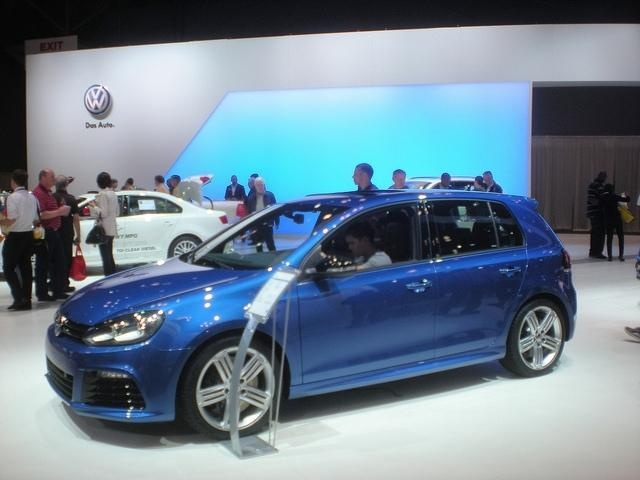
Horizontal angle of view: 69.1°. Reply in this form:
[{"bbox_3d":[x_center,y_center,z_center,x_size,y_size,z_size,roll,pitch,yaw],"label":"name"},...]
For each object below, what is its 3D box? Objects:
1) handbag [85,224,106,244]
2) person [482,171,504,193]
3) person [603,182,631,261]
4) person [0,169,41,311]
[{"bbox_3d":[-3.555,-0.086,7.421,0.312,0.395,0.182,3,1,-14],"label":"handbag"},{"bbox_3d":[4.044,-1.393,11.105,0.324,0.444,0.878,1,7,13],"label":"person"},{"bbox_3d":[7.339,-0.463,11.595,0.622,1.840,1.088,4,7,35],"label":"person"},{"bbox_3d":[-4.140,0.142,6.496,0.469,1.708,0.446,-4,7,-33],"label":"person"}]
